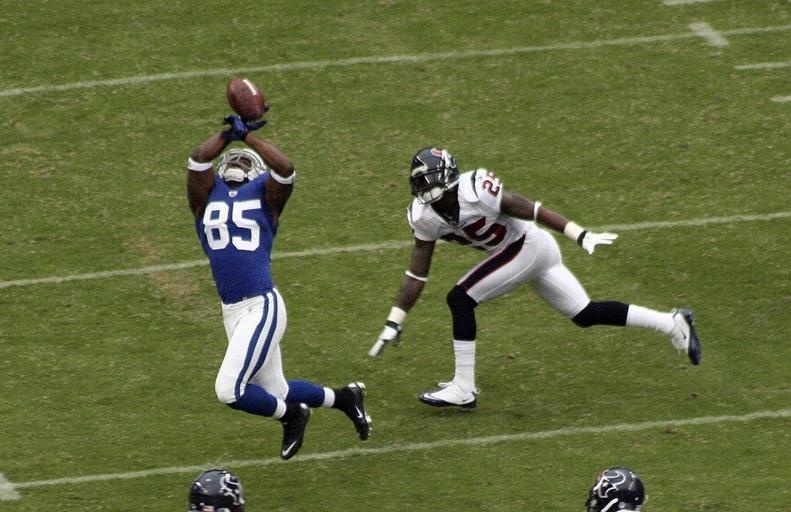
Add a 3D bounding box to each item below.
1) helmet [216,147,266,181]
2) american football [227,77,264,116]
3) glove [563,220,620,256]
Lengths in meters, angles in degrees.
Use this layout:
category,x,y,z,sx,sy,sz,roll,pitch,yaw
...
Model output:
category,x,y,z,sx,sy,sz,roll,pitch,yaw
helmet,-1.233,-0.707,11.341,0.396,0.337,0.220,5,90,13
american football,-1.169,-1.256,11.250,0.257,0.183,0.317,-38,71,-23
glove,1.459,-0.171,11.682,0.641,0.125,0.224,8,23,26
